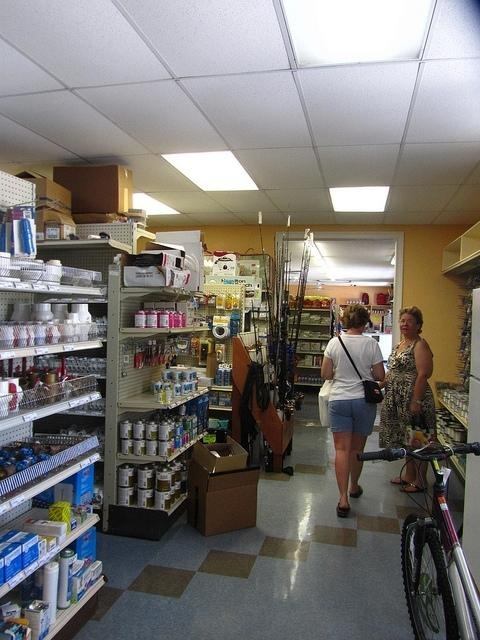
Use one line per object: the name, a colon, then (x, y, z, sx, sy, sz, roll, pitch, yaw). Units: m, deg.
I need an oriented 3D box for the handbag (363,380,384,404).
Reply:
handbag: (0.918, 0.504, 3.147, 0.100, 0.200, 0.186, -12, -10, 40)

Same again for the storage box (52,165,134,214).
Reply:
storage box: (-1.218, -1.067, 3.794, 0.747, 0.503, 0.413, 2, 8, 10)

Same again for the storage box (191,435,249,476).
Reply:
storage box: (-0.139, 0.937, 3.031, 0.291, 0.181, 0.285, 6, 2, -1)

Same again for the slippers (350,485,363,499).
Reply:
slippers: (0.950, 1.381, 3.657, 0.057, 0.061, 0.144, 2, 12, 18)

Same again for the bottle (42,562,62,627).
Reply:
bottle: (-0.753, 1.079, 1.785, 0.060, 0.221, 0.152, 2, -2, -21)

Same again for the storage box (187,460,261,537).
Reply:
storage box: (-0.135, 1.137, 3.103, 0.496, 0.490, 0.420, 0, 14, -19)

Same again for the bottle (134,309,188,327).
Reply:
bottle: (-0.524, 0.005, 3.193, 0.249, 0.122, 0.512, 1, -2, 38)
